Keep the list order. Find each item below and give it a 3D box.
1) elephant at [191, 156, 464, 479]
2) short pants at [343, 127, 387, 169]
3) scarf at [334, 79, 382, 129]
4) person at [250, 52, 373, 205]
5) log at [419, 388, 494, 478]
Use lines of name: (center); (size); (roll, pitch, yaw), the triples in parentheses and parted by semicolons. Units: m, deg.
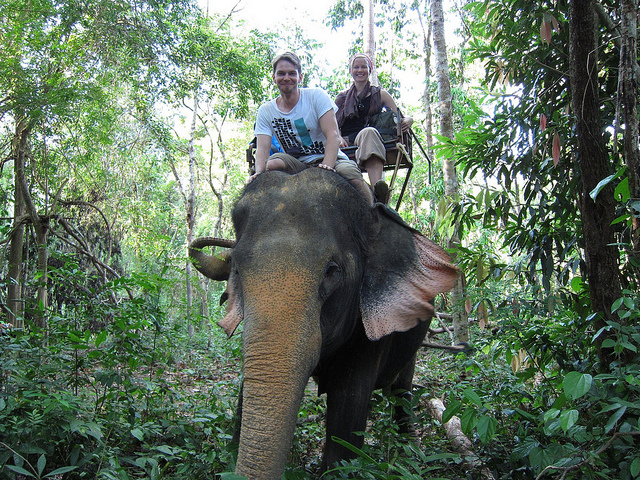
elephant: (0.055, 0.435, 3.439); (1.405, 2.089, 1.597); (4, -8, -13)
short pants: (0.372, -0.758, 4.512); (0.309, 0.346, 0.345); (-2, -4, -5)
scarf: (0.373, -1.400, 5.435); (0.426, 0.584, 0.206); (0, -20, 28)
person: (-0.130, -0.726, 3.694); (0.735, 1.191, 0.780); (-8, 8, -2)
log: (1.049, 1.552, 4.288); (0.258, 0.657, 0.335); (-17, 25, 23)
